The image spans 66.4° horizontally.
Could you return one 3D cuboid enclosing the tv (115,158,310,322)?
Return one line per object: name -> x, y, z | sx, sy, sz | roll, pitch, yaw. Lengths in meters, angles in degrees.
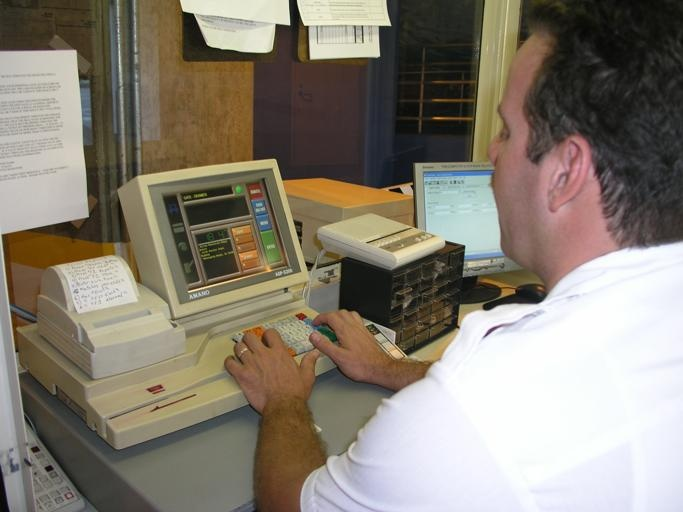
tv -> -0.320, -0.042, 1.343 | 0.214, 0.329, 0.397 | -5, 6, 40
